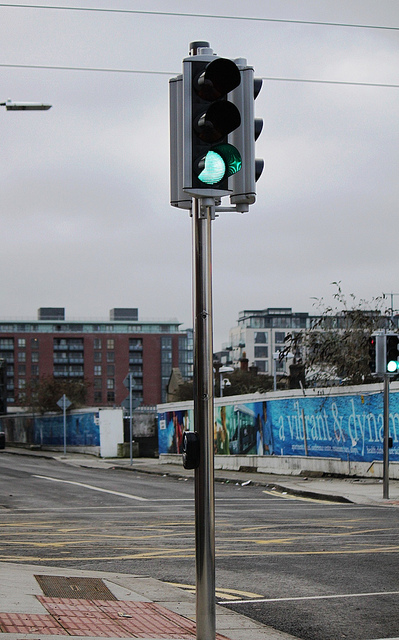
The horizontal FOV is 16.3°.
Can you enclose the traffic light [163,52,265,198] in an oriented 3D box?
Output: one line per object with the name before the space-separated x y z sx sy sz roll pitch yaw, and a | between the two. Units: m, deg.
traffic light | 0.108 -1.501 10.615 0.696 1.140 0.552 -2 -4 -1
